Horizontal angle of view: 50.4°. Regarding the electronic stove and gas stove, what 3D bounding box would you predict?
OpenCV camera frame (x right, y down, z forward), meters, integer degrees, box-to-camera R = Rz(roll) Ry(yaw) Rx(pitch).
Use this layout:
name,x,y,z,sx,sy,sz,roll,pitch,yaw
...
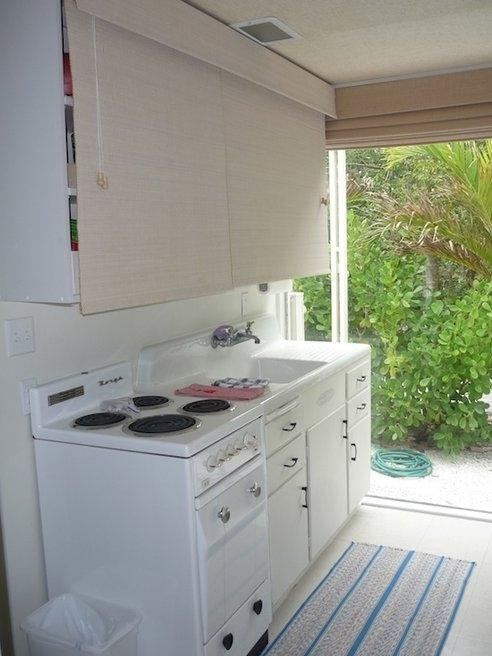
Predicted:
name,x,y,z,sx,sy,sz,roll,pitch,yaw
electronic stove and gas stove,-0.263,0.337,1.637,0.502,0.184,0.478,3,8,25
